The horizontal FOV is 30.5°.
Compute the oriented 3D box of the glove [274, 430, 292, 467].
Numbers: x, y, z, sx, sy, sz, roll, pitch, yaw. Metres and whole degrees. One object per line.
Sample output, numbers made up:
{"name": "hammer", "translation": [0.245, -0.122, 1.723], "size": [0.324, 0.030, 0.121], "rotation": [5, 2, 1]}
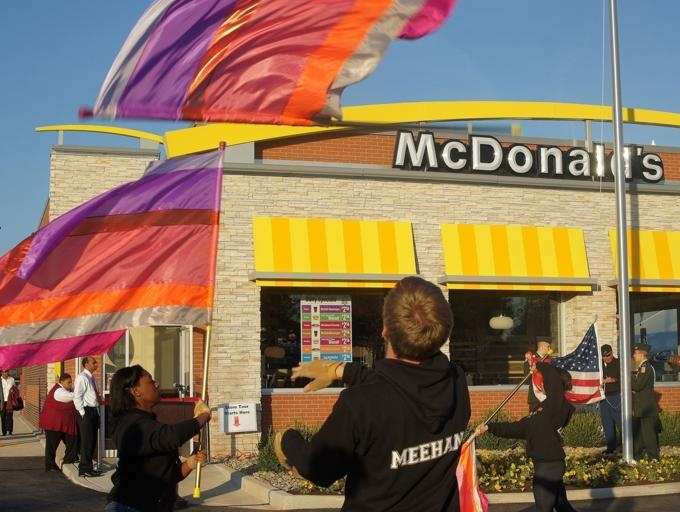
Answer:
{"name": "glove", "translation": [-0.670, 2.256, 14.530], "size": [0.193, 0.438, 0.258], "rotation": [0, -10, -3]}

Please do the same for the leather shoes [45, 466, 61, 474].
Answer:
{"name": "leather shoes", "translation": [-5.799, 4.337, 25.186], "size": [0.200, 0.089, 0.141], "rotation": [9, -13, -16]}

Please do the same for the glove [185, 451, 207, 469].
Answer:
{"name": "glove", "translation": [-1.878, 2.660, 16.392], "size": [0.298, 0.263, 0.174], "rotation": [0, -1, 1]}
